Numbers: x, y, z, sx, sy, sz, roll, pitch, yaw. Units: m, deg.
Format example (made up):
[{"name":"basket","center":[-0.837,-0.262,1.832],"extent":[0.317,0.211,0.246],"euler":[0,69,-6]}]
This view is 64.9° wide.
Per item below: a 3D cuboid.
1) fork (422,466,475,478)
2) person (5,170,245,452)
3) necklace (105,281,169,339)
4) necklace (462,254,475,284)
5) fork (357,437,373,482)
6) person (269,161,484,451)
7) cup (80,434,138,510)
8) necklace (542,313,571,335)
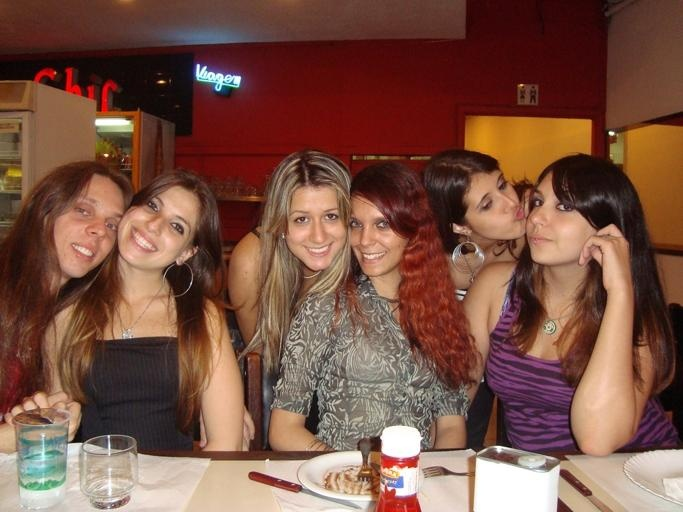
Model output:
[{"name":"fork","center":[0.327,0.663,1.650],"extent":[0.190,0.029,0.026],"euler":[-1,-18,-1]},{"name":"person","center":[-0.789,0.227,2.172],"extent":[0.727,1.157,0.487],"euler":[0,4,-31]},{"name":"necklace","center":[-0.873,0.225,2.331],"extent":[0.184,0.251,0.072],"euler":[22,-13,-9]},{"name":"necklace","center":[0.734,0.070,3.059],"extent":[0.028,0.124,0.095],"euler":[-6,-3,23]},{"name":"fork","center":[0.072,0.590,1.580],"extent":[0.046,0.149,0.022],"euler":[1,22,4]},{"name":"person","center":[0.222,0.320,2.281],"extent":[0.837,1.404,0.732],"euler":[0,-1,-25]},{"name":"cup","center":[-0.671,0.615,1.549],"extent":[0.164,0.166,0.134],"euler":[1,4,-12]},{"name":"necklace","center":[0.891,0.286,2.245],"extent":[0.064,0.050,0.117],"euler":[-40,-12,20]}]
